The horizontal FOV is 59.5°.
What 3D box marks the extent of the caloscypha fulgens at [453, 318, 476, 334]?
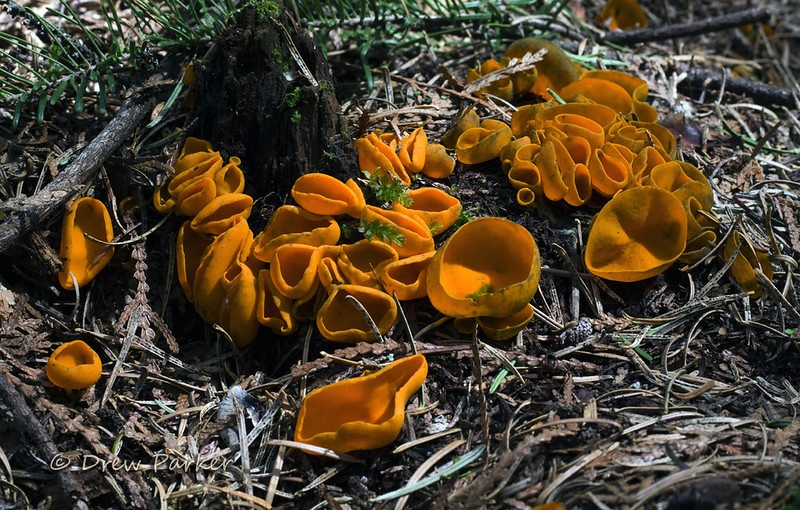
[{"bbox_3d":[0.381,0.421,4.130,0.116,0.074,0.067,-2,45,6],"label":"caloscypha fulgens"}]
